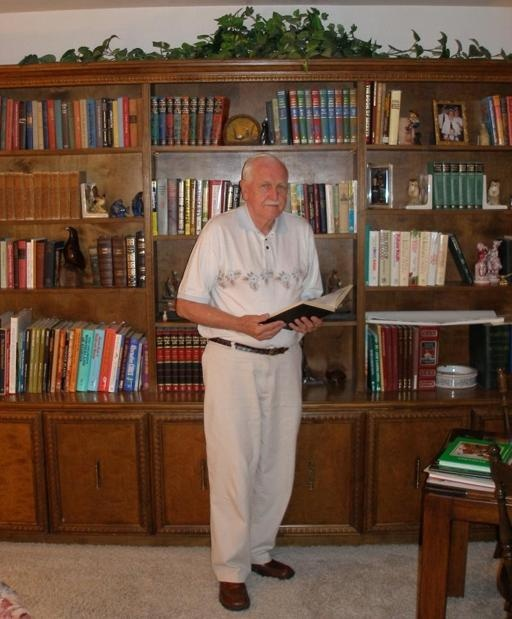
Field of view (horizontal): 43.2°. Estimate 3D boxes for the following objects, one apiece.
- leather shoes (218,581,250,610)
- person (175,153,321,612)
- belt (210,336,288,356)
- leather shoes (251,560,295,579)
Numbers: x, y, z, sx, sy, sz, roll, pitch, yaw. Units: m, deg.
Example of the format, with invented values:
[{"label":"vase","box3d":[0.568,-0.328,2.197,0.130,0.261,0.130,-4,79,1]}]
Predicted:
[{"label":"leather shoes","box3d":[-0.087,1.155,2.614,0.070,0.060,0.156,3,-5,-17]},{"label":"person","box3d":[0.041,0.293,2.630,0.580,1.795,0.426,-9,15,-32]},{"label":"belt","box3d":[-0.033,0.143,2.558,0.311,0.075,0.098,0,11,1]},{"label":"leather shoes","box3d":[0.079,1.120,2.799,0.207,0.065,0.069,-2,0,7]}]
